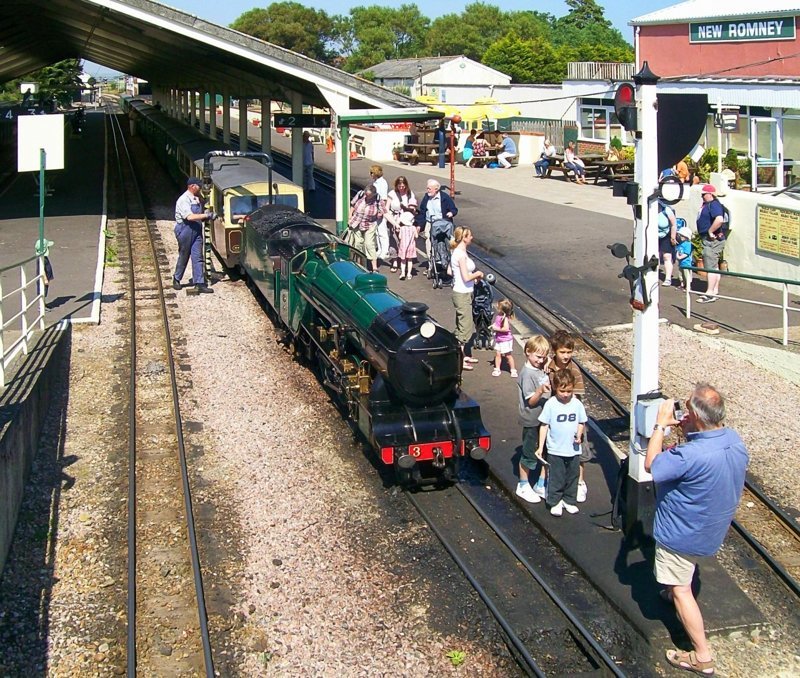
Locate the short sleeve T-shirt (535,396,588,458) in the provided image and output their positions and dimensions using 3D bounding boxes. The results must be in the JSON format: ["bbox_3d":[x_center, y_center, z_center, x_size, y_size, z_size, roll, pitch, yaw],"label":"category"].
[{"bbox_3d":[1.703,0.866,7.237,0.472,0.607,0.329,1,33,17],"label":"short sleeve T-shirt"}]

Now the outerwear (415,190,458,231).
[{"bbox_3d":[0.769,-2.824,15.289,1.007,1.118,0.704,3,17,6],"label":"outerwear"}]

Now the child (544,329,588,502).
[{"bbox_3d":[1.744,0.882,7.273,0.305,1.129,0.284,4,34,30],"label":"child"}]

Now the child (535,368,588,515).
[{"bbox_3d":[1.671,1.083,7.287,0.520,1.565,0.414,1,12,21],"label":"child"}]

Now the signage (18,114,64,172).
[{"bbox_3d":[-6.466,-3.528,12.460,0.934,1.326,0.125,0,12,-23],"label":"signage"}]

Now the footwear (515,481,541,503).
[{"bbox_3d":[1.421,1.714,7.815,0.147,0.128,0.272,-14,25,-30],"label":"footwear"}]

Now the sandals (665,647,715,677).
[{"bbox_3d":[2.298,2.569,5.531,0.330,0.157,0.181,13,21,20],"label":"sandals"}]

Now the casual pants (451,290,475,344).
[{"bbox_3d":[1.033,-0.360,11.355,0.272,0.963,0.457,-10,32,-9],"label":"casual pants"}]

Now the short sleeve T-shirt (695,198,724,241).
[{"bbox_3d":[6.484,-2.548,14.753,0.441,0.874,0.838,-1,11,6],"label":"short sleeve T-shirt"}]

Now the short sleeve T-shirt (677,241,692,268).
[{"bbox_3d":[5.854,-1.761,14.377,0.257,0.541,0.452,-2,20,0],"label":"short sleeve T-shirt"}]
